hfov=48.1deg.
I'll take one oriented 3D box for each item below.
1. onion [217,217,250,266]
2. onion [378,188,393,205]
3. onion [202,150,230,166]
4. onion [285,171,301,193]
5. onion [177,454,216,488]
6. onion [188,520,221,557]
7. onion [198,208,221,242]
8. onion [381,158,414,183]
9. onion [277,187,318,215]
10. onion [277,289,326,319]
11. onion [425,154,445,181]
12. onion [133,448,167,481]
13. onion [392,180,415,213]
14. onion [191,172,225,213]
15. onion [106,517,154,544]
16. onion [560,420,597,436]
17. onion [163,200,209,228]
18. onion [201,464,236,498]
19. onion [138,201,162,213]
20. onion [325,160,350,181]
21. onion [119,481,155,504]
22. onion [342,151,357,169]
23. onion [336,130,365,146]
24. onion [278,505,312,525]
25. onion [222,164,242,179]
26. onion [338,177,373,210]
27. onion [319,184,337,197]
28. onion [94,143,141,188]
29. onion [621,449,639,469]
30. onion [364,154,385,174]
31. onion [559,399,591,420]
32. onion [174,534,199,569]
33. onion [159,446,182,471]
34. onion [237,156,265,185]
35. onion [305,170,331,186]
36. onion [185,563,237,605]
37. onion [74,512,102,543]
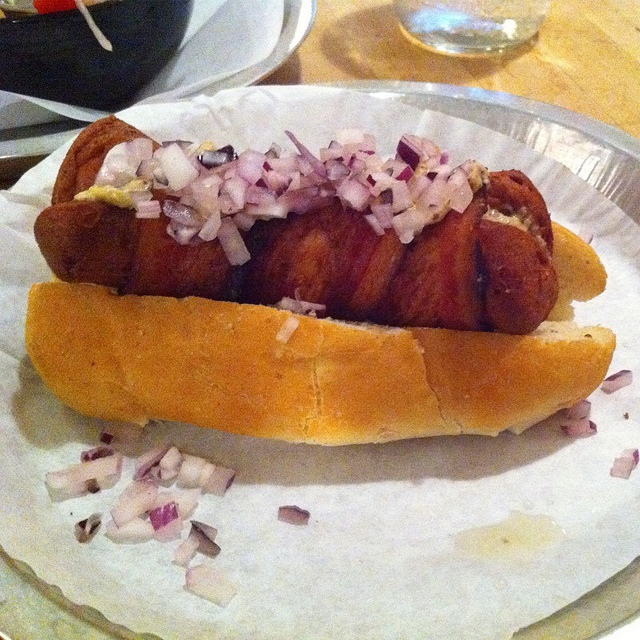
[{"bbox_3d":[-0.198,-0.176,1.639,0.064,0.100,0.028,-25,23,1],"label":"onion"},{"bbox_3d":[0.146,-0.278,1.617,0.045,0.015,0.031,7,94,13],"label":"onion"},{"bbox_3d":[-0.246,-0.382,1.709,0.063,0.015,0.043,6,69,1],"label":"onion"},{"bbox_3d":[-0.052,-0.312,1.634,0.052,0.013,0.039,-14,70,32],"label":"onion"},{"bbox_3d":[-0.306,0.364,1.755,0.088,0.026,0.068,6,40,2],"label":"onion"},{"bbox_3d":[-0.258,0.493,1.634,0.072,0.072,0.025,32,116,20],"label":"onion"},{"bbox_3d":[-0.246,-0.210,1.613,0.044,0.020,0.069,27,103,-14],"label":"onion"},{"bbox_3d":[0.182,-0.344,1.651,0.072,0.018,0.051,3,70,10],"label":"onion"},{"bbox_3d":[-0.049,-0.268,1.627,0.093,0.051,0.045,-3,72,-3],"label":"onion"},{"bbox_3d":[-0.044,-0.034,1.719,0.102,0.027,0.071,1,68,-7],"label":"onion"},{"bbox_3d":[0.271,-0.347,1.660,0.055,0.025,0.062,3,60,6],"label":"onion"},{"bbox_3d":[-0.423,0.353,1.771,0.083,0.019,0.053,-35,35,-27],"label":"onion"},{"bbox_3d":[0.185,-0.276,1.592,0.059,0.016,0.056,-18,85,3],"label":"onion"},{"bbox_3d":[-0.256,-0.292,1.628,0.071,0.019,0.106,5,68,0],"label":"onion"},{"bbox_3d":[-0.433,0.472,1.629,0.062,0.078,0.023,6,87,39],"label":"onion"},{"bbox_3d":[0.634,0.260,1.752,0.069,0.014,0.036,-4,25,14],"label":"onion"},{"bbox_3d":[-0.307,-0.239,1.633,0.112,0.031,0.044,21,81,-4],"label":"onion"},{"bbox_3d":[-0.245,0.391,1.746,0.078,0.026,0.061,21,75,10],"label":"onion"},{"bbox_3d":[-0.385,-0.254,1.617,0.046,0.015,0.025,-2,70,-3],"label":"onion"},{"bbox_3d":[0.029,-0.341,1.638,0.068,0.019,0.050,-4,60,-12],"label":"onion"},{"bbox_3d":[-0.441,0.406,1.716,0.046,0.054,0.017,-13,104,25],"label":"onion"},{"bbox_3d":[0.073,-0.374,1.683,0.028,0.012,0.045,-11,36,33],"label":"onion"},{"bbox_3d":[0.076,-0.449,1.769,0.062,0.030,0.049,-5,70,-4],"label":"onion"},{"bbox_3d":[-0.059,0.455,1.694,0.078,0.032,0.045,7,70,1],"label":"onion"},{"bbox_3d":[-0.195,-0.338,1.642,0.035,0.010,0.032,-23,38,13],"label":"onion"},{"bbox_3d":[0.081,-0.281,1.613,0.069,0.034,0.059,39,73,12],"label":"onion"},{"bbox_3d":[0.017,-0.292,1.626,0.038,0.011,0.026,1,87,-6],"label":"onion"},{"bbox_3d":[-0.472,-0.355,1.674,0.138,0.033,0.098,6,72,-2],"label":"onion"},{"bbox_3d":[0.707,0.318,1.655,0.047,0.015,0.036,-1,59,25],"label":"onion"},{"bbox_3d":[0.124,-0.361,1.663,0.047,0.015,0.050,-19,61,-15],"label":"onion"},{"bbox_3d":[0.634,0.216,1.804,0.066,0.018,0.064,-32,30,-12],"label":"onion"},{"bbox_3d":[-0.297,0.511,1.606,0.039,0.012,0.058,22,44,12],"label":"onion"},{"bbox_3d":[-0.368,0.339,1.772,0.045,0.019,0.051,13,49,9],"label":"onion"},{"bbox_3d":[-0.160,-0.342,1.637,0.061,0.025,0.067,-29,74,-19],"label":"onion"},{"bbox_3d":[-0.004,-0.316,1.623,0.045,0.013,0.031,40,73,13],"label":"onion"},{"bbox_3d":[-0.233,0.565,1.551,0.107,0.020,0.060,22,28,19],"label":"onion"},{"bbox_3d":[-0.521,0.468,1.624,0.041,0.020,0.056,30,56,8],"label":"onion"}]
